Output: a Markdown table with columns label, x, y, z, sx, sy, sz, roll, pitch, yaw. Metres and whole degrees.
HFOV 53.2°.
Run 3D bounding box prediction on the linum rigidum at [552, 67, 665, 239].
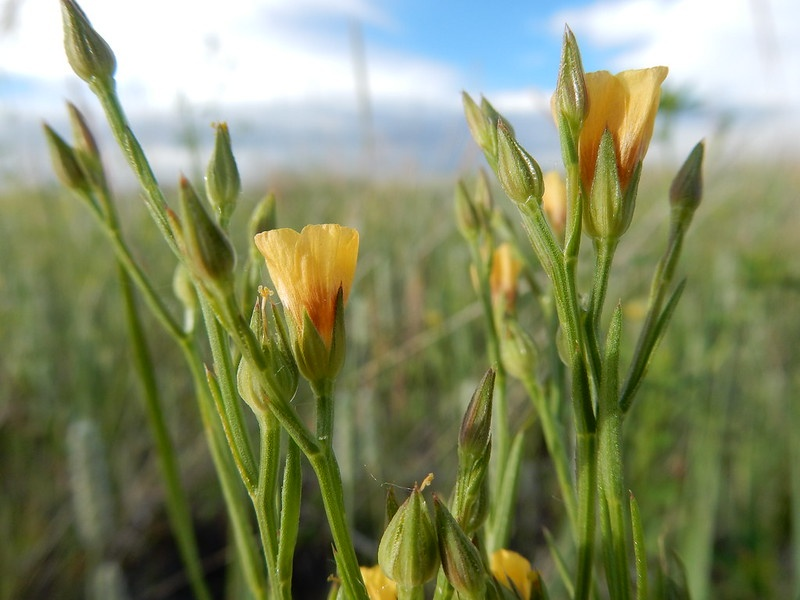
| label | x | y | z | sx | sy | sz | roll | pitch | yaw |
| --- | --- | --- | --- | --- | --- | --- | --- | --- | --- |
| linum rigidum | 0.300 | -0.204 | 1.218 | 0.167 | 0.322 | 0.181 | -1 | -1 | -4 |
